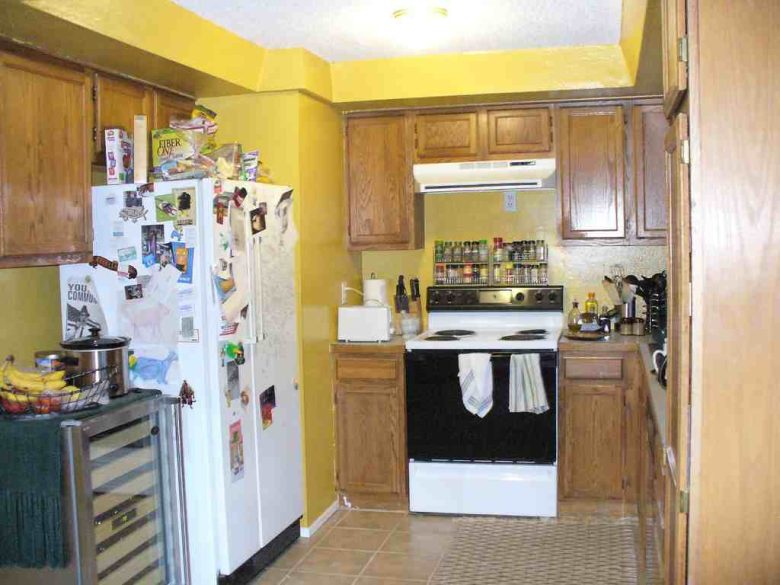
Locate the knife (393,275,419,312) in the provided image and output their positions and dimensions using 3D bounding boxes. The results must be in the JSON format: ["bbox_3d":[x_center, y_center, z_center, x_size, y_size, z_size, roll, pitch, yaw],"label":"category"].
[{"bbox_3d":[0.121,0.011,4.737,0.182,0.255,0.246,-1,12,0],"label":"knife"}]

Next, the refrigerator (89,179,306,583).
[{"bbox_3d":[-0.884,0.471,3.380,0.986,2.066,0.712,-6,13,-21],"label":"refrigerator"}]

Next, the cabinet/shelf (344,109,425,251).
[{"bbox_3d":[-0.070,-0.740,4.482,0.466,0.881,0.214,-2,12,-2],"label":"cabinet/shelf"}]

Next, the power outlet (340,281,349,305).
[{"bbox_3d":[-0.313,-0.001,4.548,0.017,0.167,0.155,3,4,19],"label":"power outlet"}]

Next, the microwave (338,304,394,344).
[{"bbox_3d":[-0.162,0.206,4.401,0.258,0.192,0.257,0,2,5],"label":"microwave"}]

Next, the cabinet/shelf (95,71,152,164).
[{"bbox_3d":[-1.339,-0.904,3.384,0.111,0.362,0.461,0,12,4],"label":"cabinet/shelf"}]

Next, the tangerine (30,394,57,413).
[{"bbox_3d":[-1.376,0.432,2.672,0.079,0.051,0.079,-2,0,30],"label":"tangerine"}]

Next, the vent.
[{"bbox_3d":[0.605,-0.753,4.332,0.905,0.200,0.183,1,12,12],"label":"vent"}]

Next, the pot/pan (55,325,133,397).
[{"bbox_3d":[-1.337,0.281,3.014,0.298,0.303,0.306,-1,2,-31],"label":"pot/pan"}]

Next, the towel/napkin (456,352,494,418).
[{"bbox_3d":[0.516,0.560,4.040,0.203,0.400,0.064,1,12,8],"label":"towel/napkin"}]

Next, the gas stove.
[{"bbox_3d":[0.649,0.238,4.396,0.971,0.144,0.766,1,12,12],"label":"gas stove"}]

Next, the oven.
[{"bbox_3d":[0.506,0.864,4.553,1.039,1.182,0.967,-1,-4,12],"label":"oven"}]
